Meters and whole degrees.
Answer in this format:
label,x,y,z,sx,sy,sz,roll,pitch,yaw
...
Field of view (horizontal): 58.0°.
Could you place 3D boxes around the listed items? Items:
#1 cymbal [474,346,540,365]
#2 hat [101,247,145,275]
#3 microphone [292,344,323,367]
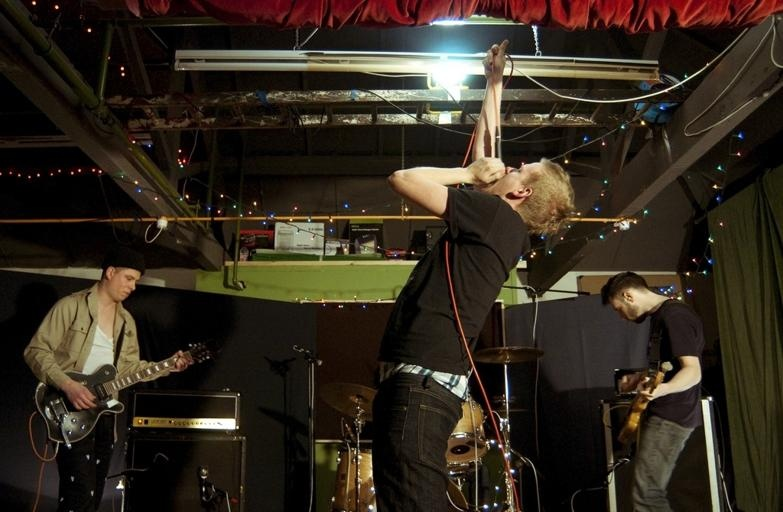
label,x,y,z,sx,sy,sz,roll,pitch,yaw
cymbal,1.351,1.164,8.220,0.417,0.090,0.434,-6,-23,4
hat,-2.798,0.052,7.415,0.309,0.203,0.318,3,-13,-9
microphone,-0.971,1.232,8.349,0.277,0.220,0.790,8,-11,5
